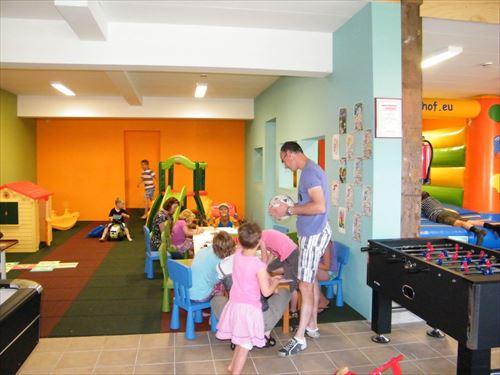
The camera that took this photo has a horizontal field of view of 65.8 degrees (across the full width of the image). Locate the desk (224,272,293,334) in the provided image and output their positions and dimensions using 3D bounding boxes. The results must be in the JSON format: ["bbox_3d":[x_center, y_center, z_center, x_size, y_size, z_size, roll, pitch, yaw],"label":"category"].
[{"bbox_3d":[0.231,1.195,4.032,0.629,0.674,0.262,6,-18,14],"label":"desk"}]

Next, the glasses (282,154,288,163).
[{"bbox_3d":[0.383,-0.327,4.256,0.066,0.086,0.042,-13,-5,-40],"label":"glasses"}]

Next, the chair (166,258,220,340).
[{"bbox_3d":[-0.606,1.195,4.317,0.595,0.822,0.610,0,-35,-19],"label":"chair"}]

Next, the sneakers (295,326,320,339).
[{"bbox_3d":[0.631,1.627,4.362,0.355,0.143,0.121,3,-3,-3],"label":"sneakers"}]

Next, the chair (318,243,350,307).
[{"bbox_3d":[1.014,1.112,5.003,0.507,0.621,0.497,0,-16,41],"label":"chair"}]

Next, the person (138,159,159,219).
[{"bbox_3d":[-2.895,0.047,11.060,0.461,1.703,1.540,-2,8,-14],"label":"person"}]

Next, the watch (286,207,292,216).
[{"bbox_3d":[0.430,0.254,4.169,0.039,0.085,0.062,5,0,13],"label":"watch"}]

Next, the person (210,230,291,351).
[{"bbox_3d":[-0.005,1.144,3.985,0.803,1.031,0.588,-4,3,12],"label":"person"}]

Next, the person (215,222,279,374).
[{"bbox_3d":[-0.007,0.999,3.606,0.556,1.296,0.385,-7,10,-40],"label":"person"}]

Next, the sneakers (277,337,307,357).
[{"bbox_3d":[0.451,1.659,4.063,0.338,0.133,0.128,-6,-1,-28],"label":"sneakers"}]

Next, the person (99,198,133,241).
[{"bbox_3d":[-3.072,0.713,8.844,0.687,0.910,0.792,-3,8,-19],"label":"person"}]
